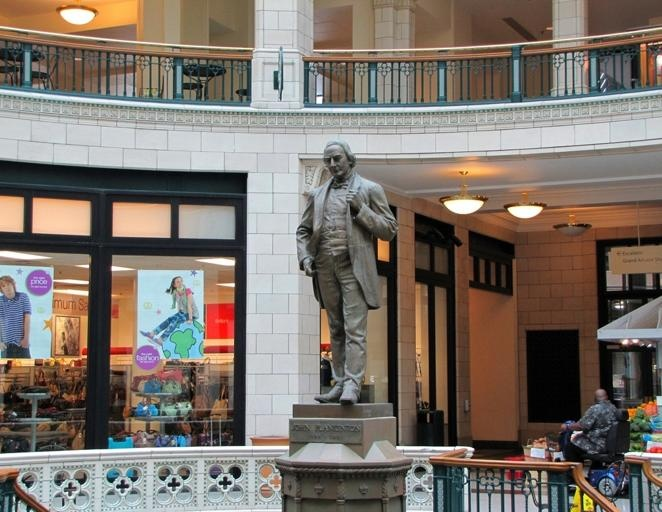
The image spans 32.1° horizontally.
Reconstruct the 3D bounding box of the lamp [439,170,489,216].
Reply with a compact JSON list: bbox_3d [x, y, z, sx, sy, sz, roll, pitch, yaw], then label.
[{"bbox_3d":[2.437,-1.080,21.038,0.827,0.771,0.818,0,-10,6],"label":"lamp"}]

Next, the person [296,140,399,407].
[{"bbox_3d":[0.182,0.208,14.526,1.211,3.272,0.559,0,-7,2],"label":"person"}]

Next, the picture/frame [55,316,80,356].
[{"bbox_3d":[-4.365,1.322,18.984,0.400,0.659,0.090,4,-8,-26],"label":"picture/frame"}]

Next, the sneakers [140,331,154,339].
[{"bbox_3d":[-3.101,1.320,19.346,0.235,0.100,0.080,29,-2,-13],"label":"sneakers"}]

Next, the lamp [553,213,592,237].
[{"bbox_3d":[5.209,-0.816,24.761,0.668,0.402,0.660,1,-13,2],"label":"lamp"}]

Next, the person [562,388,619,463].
[{"bbox_3d":[4.267,2.823,18.781,0.914,1.000,0.770,-1,-7,11],"label":"person"}]

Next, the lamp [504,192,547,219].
[{"bbox_3d":[3.633,-0.900,21.679,0.621,0.392,0.612,2,-13,0],"label":"lamp"}]

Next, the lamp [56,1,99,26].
[{"bbox_3d":[-5.388,-5.019,24.000,0.637,0.202,0.631,5,-8,-44],"label":"lamp"}]
